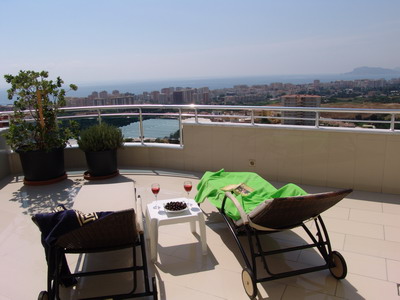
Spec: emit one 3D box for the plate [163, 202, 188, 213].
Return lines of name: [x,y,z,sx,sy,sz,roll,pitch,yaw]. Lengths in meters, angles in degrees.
plate: [-0.272,0.645,3.130,0.160,0.048,0.139,2,16,14]

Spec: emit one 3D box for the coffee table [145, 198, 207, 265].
coffee table: [-0.324,0.817,3.292,0.679,0.498,0.666,-6,14,-14]

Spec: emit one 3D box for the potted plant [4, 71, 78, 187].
potted plant: [-2.964,-0.415,5.165,1.140,2.075,0.648,-11,14,-24]

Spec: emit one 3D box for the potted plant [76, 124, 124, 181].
potted plant: [-1.973,0.001,5.627,0.916,1.075,0.818,5,9,37]

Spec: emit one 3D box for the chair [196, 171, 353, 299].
chair: [0.683,0.672,3.381,0.979,0.871,1.947,-7,18,-12]
